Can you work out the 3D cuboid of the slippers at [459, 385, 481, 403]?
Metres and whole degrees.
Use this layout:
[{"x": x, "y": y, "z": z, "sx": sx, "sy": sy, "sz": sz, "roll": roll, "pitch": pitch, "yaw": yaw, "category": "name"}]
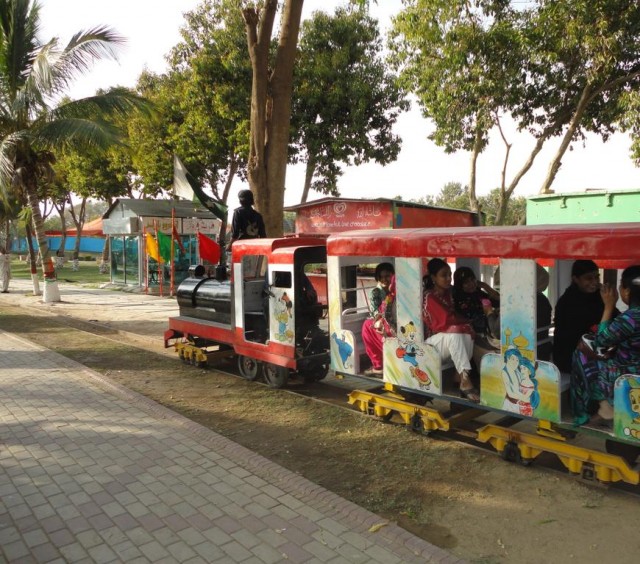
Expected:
[{"x": 1.703, "y": 1.279, "z": 6.222, "sx": 0.130, "sy": 0.134, "sz": 0.301, "roll": -6, "pitch": 11, "yaw": -39, "category": "slippers"}]
